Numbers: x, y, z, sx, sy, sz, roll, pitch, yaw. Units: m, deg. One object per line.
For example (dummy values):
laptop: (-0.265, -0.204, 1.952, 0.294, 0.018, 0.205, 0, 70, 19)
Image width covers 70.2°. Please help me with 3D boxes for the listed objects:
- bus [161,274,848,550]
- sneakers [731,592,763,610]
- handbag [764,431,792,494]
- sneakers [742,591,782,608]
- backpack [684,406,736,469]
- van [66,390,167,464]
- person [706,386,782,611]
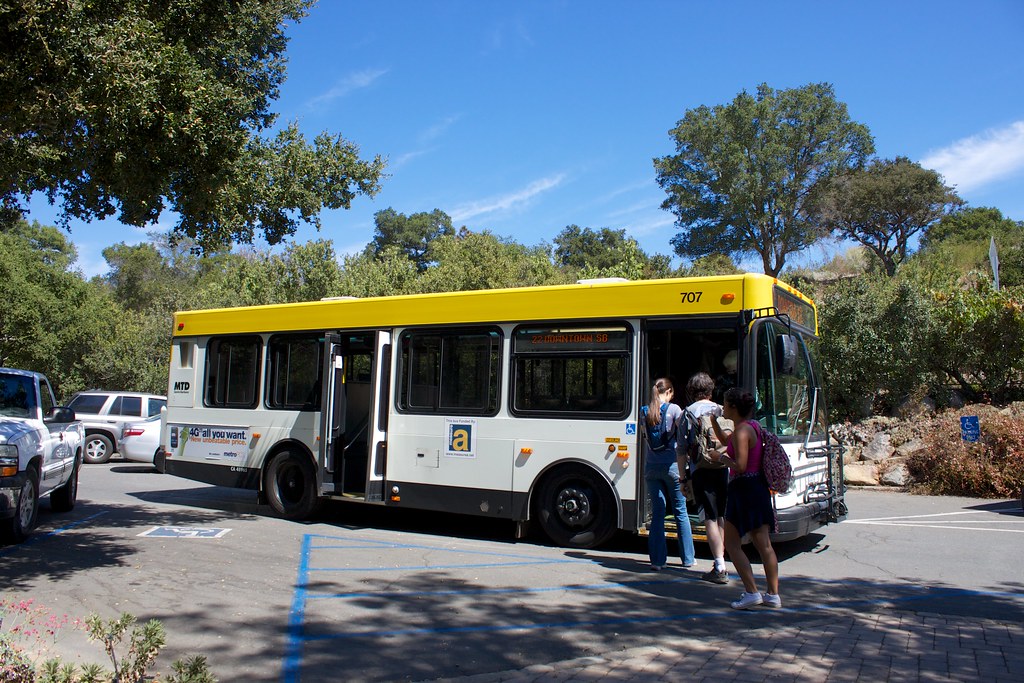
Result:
bus: (-1.096, 1.305, 13.756, 13.248, 4.767, 3.361, -6, -9, 28)
sneakers: (2.848, 3.133, 8.808, 0.411, 0.206, 0.158, -5, -6, 11)
handbag: (3.154, 1.437, 8.747, 0.305, 0.736, 0.230, -4, -8, 18)
sneakers: (2.992, 3.100, 8.837, 0.490, 0.238, 0.194, 1, -8, 2)
backpack: (2.635, 1.297, 9.671, 0.318, 0.628, 0.601, -12, -25, -18)
van: (-12.638, 2.759, 23.064, 3.736, 2.057, 2.200, 0, 0, -18)
person: (2.887, 1.919, 8.951, 0.577, 2.669, 0.823, -3, -7, 18)
